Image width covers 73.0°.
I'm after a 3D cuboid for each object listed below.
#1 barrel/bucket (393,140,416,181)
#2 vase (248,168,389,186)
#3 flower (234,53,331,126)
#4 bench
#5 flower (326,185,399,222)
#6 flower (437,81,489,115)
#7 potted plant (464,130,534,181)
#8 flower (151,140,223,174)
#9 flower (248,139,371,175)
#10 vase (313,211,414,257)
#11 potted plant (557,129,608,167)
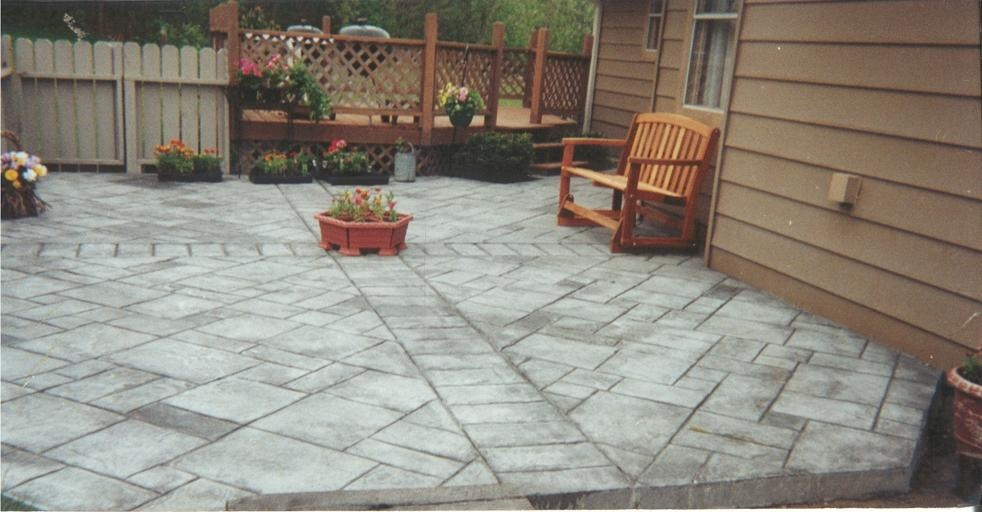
[{"bbox_3d":[-1.407,-1.554,10.772,0.362,0.670,0.416,-6,20,-10],"label":"barrel/bucket"},{"bbox_3d":[-2.650,-1.236,10.294,2.037,0.333,0.456,-5,19,-12],"label":"vase"},{"bbox_3d":[-3.262,-2.611,10.351,1.170,0.505,1.029,4,31,-33],"label":"flower"},{"bbox_3d":[1.791,-1.000,8.440,1.389,1.474,1.735,-6,20,-13],"label":"bench"},{"bbox_3d":[-1.508,-0.538,7.966,0.768,0.299,0.898,-1,17,-6],"label":"flower"},{"bbox_3d":[-0.498,-2.629,11.243,0.670,0.378,0.612,4,12,0],"label":"flower"},{"bbox_3d":[0.164,-1.689,11.251,1.066,0.766,1.022,-3,24,-5],"label":"potted plant"},{"bbox_3d":[-4.552,-1.399,10.118,0.760,0.416,0.789,0,5,-9],"label":"flower"},{"bbox_3d":[-2.762,-1.473,10.401,1.372,0.349,0.917,-2,10,-14],"label":"flower"},{"bbox_3d":[-1.440,-0.226,7.493,0.687,0.206,0.671,6,16,11],"label":"vase"},{"bbox_3d":[1.706,-1.957,12.227,0.820,0.739,0.658,6,23,9],"label":"potted plant"}]
